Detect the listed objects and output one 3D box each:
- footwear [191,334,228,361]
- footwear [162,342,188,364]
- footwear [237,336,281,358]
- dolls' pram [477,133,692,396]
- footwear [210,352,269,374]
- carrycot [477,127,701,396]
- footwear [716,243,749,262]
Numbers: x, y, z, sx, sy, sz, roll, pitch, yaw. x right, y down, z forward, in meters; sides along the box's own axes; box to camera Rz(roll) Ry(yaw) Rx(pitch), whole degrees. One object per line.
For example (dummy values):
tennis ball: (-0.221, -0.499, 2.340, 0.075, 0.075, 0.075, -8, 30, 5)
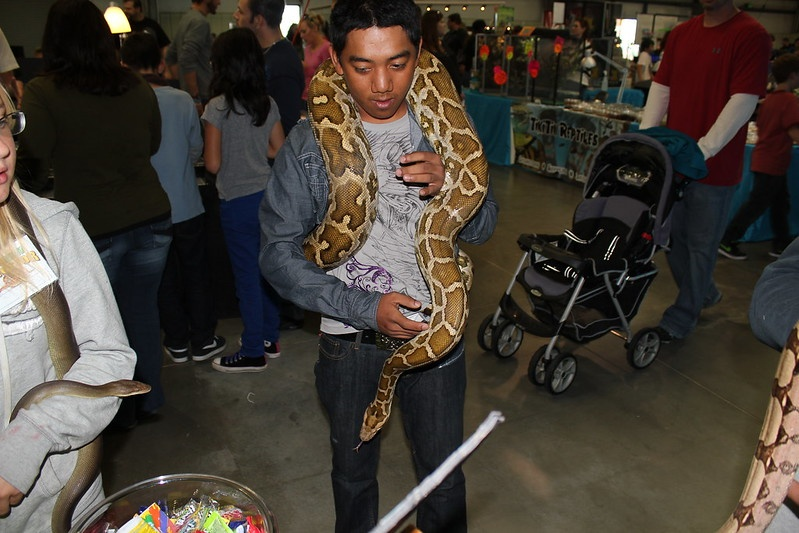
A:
footwear: (-1.910, 0.839, 5.781, 0.163, 0.183, 0.423, 14, 27, 27)
footwear: (-2.280, 0.858, 5.702, 0.120, 0.130, 0.294, -15, 28, -41)
footwear: (-1.413, 0.816, 5.694, 0.399, 0.176, 0.139, 17, 12, 14)
dolls' pram: (1.800, 0.276, 5.815, 1.711, 2.729, 2.245, 31, 53, 17)
footwear: (-1.563, 0.957, 5.492, 0.504, 0.208, 0.203, 4, 2, -3)
carrycot: (1.914, -0.054, 5.454, 1.830, 2.148, 1.279, -21, 35, -33)
footwear: (4.630, -0.161, 7.785, 0.386, 0.169, 0.147, 14, 25, 16)
